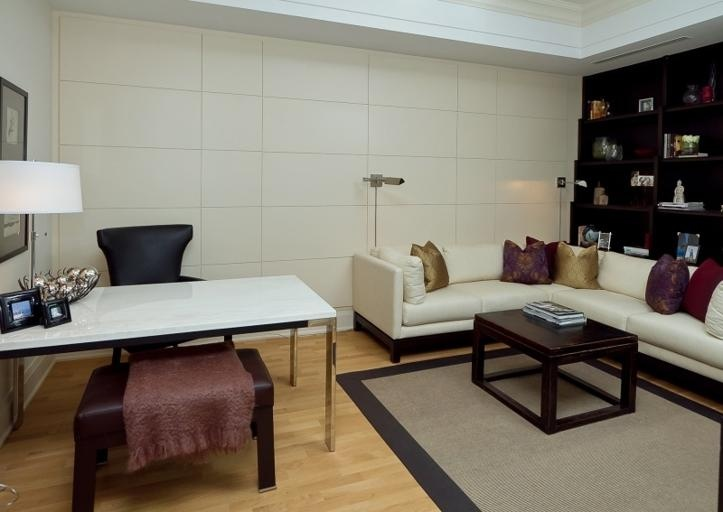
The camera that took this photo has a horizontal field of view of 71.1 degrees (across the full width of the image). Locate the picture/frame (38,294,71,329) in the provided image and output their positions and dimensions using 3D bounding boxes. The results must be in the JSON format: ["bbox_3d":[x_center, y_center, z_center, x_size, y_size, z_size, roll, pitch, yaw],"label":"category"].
[{"bbox_3d":[-1.868,0.334,3.130,0.143,0.203,0.202,-8,-7,40],"label":"picture/frame"}]

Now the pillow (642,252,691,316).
[{"bbox_3d":[2.805,0.258,4.651,0.275,0.540,0.545,8,11,10],"label":"pillow"}]

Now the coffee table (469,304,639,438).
[{"bbox_3d":[1.565,0.887,4.298,0.875,0.645,1.160,-5,8,-20],"label":"coffee table"}]

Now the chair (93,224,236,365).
[{"bbox_3d":[-1.790,0.371,4.343,0.817,1.197,0.907,10,11,43],"label":"chair"}]

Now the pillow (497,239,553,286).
[{"bbox_3d":[1.793,0.081,5.618,0.510,0.533,0.208,0,-13,10],"label":"pillow"}]

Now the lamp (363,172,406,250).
[{"bbox_3d":[0.255,-0.442,5.817,0.469,1.124,0.226,2,35,3],"label":"lamp"}]

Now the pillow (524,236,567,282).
[{"bbox_3d":[2.006,0.051,5.548,0.474,0.577,0.213,2,-2,18],"label":"pillow"}]

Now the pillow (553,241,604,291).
[{"bbox_3d":[2.299,0.127,5.410,0.459,0.457,0.179,5,0,41],"label":"pillow"}]
